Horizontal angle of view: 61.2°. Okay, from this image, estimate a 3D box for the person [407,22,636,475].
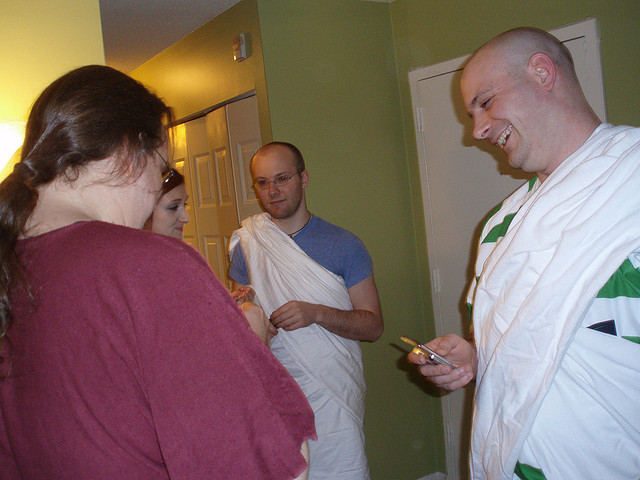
[{"bbox_3d":[0.610,0.008,1.597,0.571,1.294,0.496,-7,7,12],"label":"person"}]

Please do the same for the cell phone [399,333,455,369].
[{"bbox_3d":[0.324,0.341,1.617,0.143,0.037,0.156,36,-7,19],"label":"cell phone"}]
